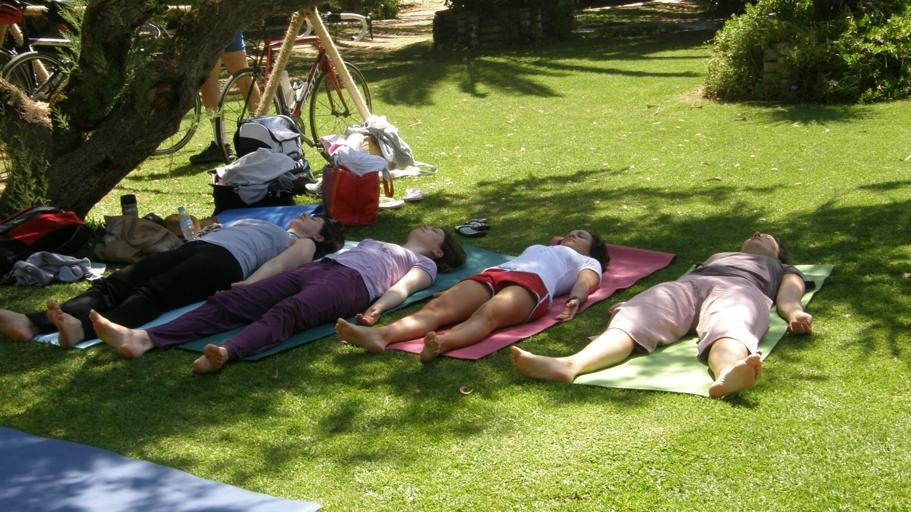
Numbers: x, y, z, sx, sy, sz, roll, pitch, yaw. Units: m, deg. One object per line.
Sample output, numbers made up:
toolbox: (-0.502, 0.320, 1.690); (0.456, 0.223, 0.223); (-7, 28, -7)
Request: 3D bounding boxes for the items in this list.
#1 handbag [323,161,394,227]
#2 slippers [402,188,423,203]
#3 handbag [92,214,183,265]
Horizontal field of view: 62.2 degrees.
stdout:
handbag: (-1.145, -0.732, 8.867); (0.760, 0.712, 0.742); (2, 14, -6)
slippers: (-0.524, -0.758, 9.454); (0.247, 0.162, 0.454); (-2, 2, -2)
handbag: (-3.223, -0.156, 7.658); (0.669, 0.215, 0.672); (16, 25, 37)
